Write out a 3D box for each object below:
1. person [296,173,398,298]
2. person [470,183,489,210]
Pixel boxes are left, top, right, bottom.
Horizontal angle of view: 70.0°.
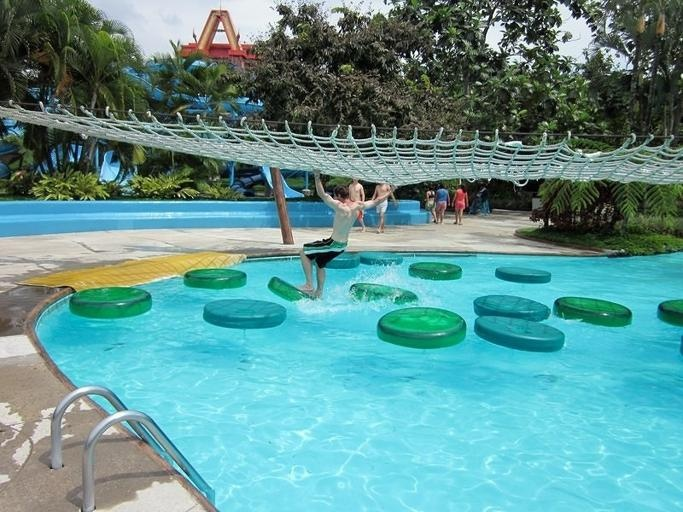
[{"bbox_3d":[-0.112,-0.316,8.343,1.201,2.201,0.405,-1,15,-4],"label":"person"},{"bbox_3d":[7.167,-2.869,25.271,0.825,1.348,0.595,4,15,13],"label":"person"}]
